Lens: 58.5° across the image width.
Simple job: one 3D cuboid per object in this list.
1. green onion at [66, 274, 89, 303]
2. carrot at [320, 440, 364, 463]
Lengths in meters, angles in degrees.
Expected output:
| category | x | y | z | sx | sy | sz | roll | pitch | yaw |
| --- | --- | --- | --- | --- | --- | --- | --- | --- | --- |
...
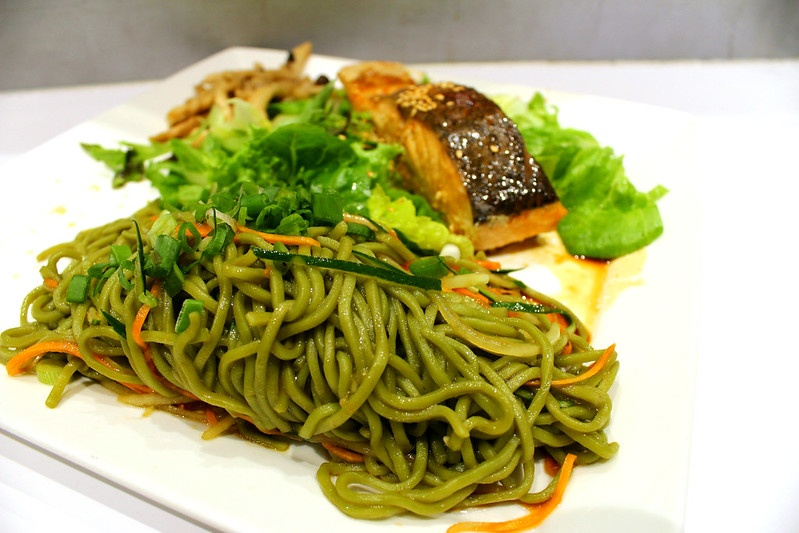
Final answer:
| category | x | y | z | sx | sy | sz | roll | pitch | yaw |
| --- | --- | --- | --- | --- | --- | --- | --- | --- | --- |
| green onion | -2.000 | 0.139 | 4.441 | 0.129 | 0.059 | 0.164 | 3 | 69 | 4 |
| carrot | -0.340 | 1.114 | 4.267 | 0.197 | 0.045 | 0.117 | 16 | 15 | 16 |
